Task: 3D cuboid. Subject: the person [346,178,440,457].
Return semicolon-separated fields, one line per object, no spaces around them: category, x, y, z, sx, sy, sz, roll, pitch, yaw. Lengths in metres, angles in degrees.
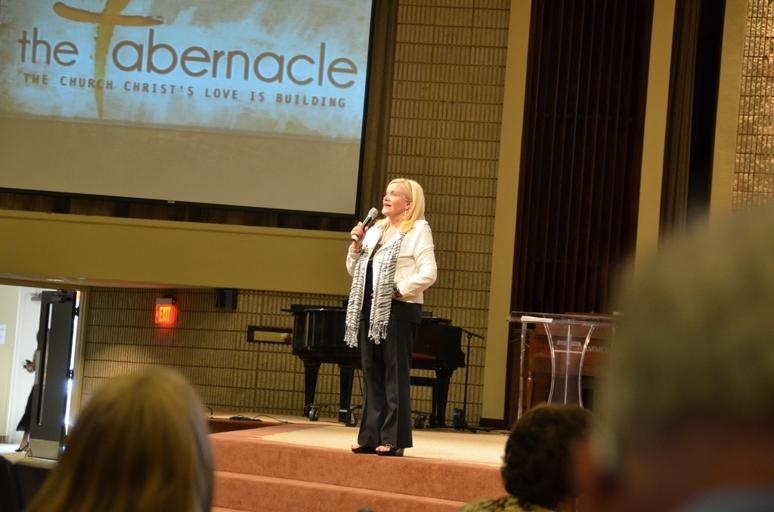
person;0.028;0.301;4.108;0.438;1.367;0.517;-5;-7;-24

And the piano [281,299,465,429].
piano;-0.480;0.863;6.786;0.961;0.702;0.927;15;-10;-17

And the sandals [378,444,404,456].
sandals;0.029;0.944;4.054;0.109;0.040;0.063;11;-13;-31

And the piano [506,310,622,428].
piano;1.144;0.675;5.481;0.681;0.712;0.746;3;14;-7
